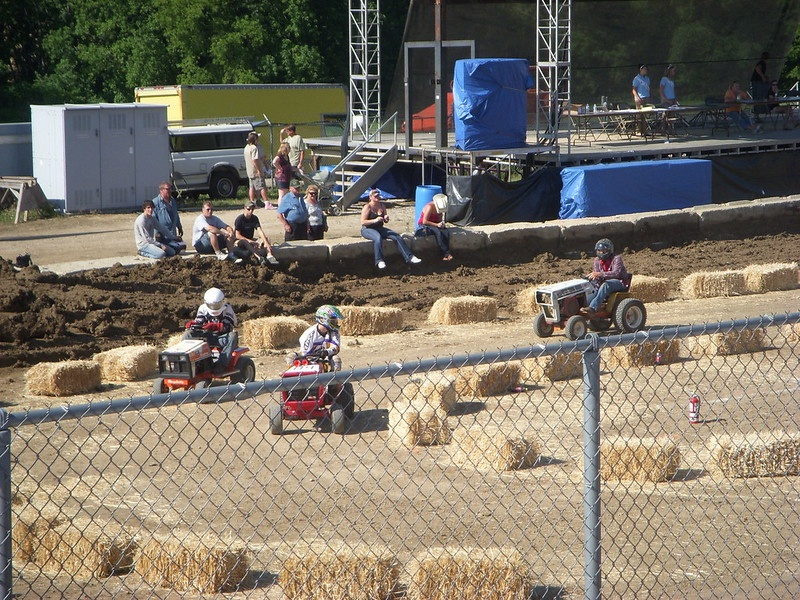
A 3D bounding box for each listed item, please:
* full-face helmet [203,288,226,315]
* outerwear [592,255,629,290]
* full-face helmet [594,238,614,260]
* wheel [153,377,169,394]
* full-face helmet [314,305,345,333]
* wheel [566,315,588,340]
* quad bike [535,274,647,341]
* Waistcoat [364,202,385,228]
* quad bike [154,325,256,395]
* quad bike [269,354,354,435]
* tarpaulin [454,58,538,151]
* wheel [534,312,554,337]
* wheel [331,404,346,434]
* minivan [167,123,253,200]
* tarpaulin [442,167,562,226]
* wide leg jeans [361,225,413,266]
[{"bbox_3d":[-3.593,0.029,38.853,0.328,0.402,0.441,-1,11,-4],"label":"full-face helmet"},{"bbox_3d":[4.351,-0.541,41.222,0.536,0.632,0.714,-14,-12,40],"label":"outerwear"},{"bbox_3d":[4.173,-1.025,41.130,0.336,0.444,0.452,-6,8,34],"label":"full-face helmet"},{"bbox_3d":[-4.576,1.701,38.272,0.313,0.316,0.452,0,19,0],"label":"wheel"},{"bbox_3d":[-1.348,0.370,37.786,0.453,0.452,0.397,0,16,0],"label":"full-face helmet"},{"bbox_3d":[3.557,0.615,40.650,0.433,0.493,0.558,1,19,3],"label":"wheel"},{"bbox_3d":[3.844,0.174,41.213,2.019,1.444,1.598,-4,4,-36],"label":"quad bike"},{"bbox_3d":[-0.622,-1.900,45.670,0.513,0.627,0.494,1,-4,-25],"label":"Waistcoat"},{"bbox_3d":[-3.828,1.133,39.011,1.297,1.569,2.068,2,6,29],"label":"quad bike"},{"bbox_3d":[-1.833,2.037,38.106,1.406,1.688,2.446,-4,-11,0],"label":"quad bike"},{"bbox_3d":[2.187,-5.021,49.537,1.946,2.376,1.580,-9,22,-21],"label":"tarpaulin"},{"bbox_3d":[2.926,0.537,40.987,0.124,0.382,0.340,12,-11,47],"label":"wheel"},{"bbox_3d":[-1.110,2.280,37.260,0.347,0.498,0.253,-8,19,-23],"label":"wheel"},{"bbox_3d":[-5.569,-3.816,54.936,1.675,2.182,3.261,2,2,-24],"label":"minivan"},{"bbox_3d":[2.727,-2.559,49.726,2.361,1.321,2.529,-2,-8,13],"label":"tarpaulin"},{"bbox_3d":[-0.300,-1.225,45.536,1.153,0.782,0.750,-1,18,-2],"label":"wide leg jeans"}]
